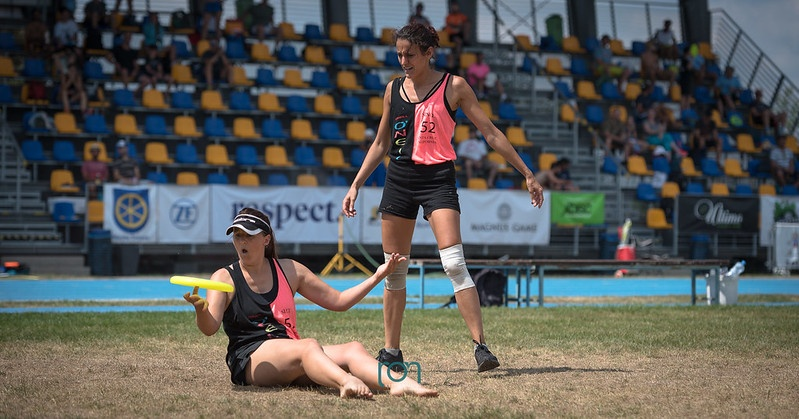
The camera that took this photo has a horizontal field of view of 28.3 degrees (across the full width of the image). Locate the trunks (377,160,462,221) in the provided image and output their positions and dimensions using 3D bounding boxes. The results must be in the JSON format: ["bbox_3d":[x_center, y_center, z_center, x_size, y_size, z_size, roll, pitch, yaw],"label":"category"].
[{"bbox_3d":[0.517,-0.584,41.921,2.634,1.911,1.413,0,1,9],"label":"trunks"}]

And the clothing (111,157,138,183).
[{"bbox_3d":[-8.906,-1.335,51.547,0.850,0.833,1.185,1,0,-11],"label":"clothing"}]

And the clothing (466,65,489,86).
[{"bbox_3d":[2.757,-4.857,56.927,0.889,1.119,0.409,2,-4,-3],"label":"clothing"}]

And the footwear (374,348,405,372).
[{"bbox_3d":[-0.277,3.841,41.342,0.835,0.333,0.404,4,1,27],"label":"footwear"}]

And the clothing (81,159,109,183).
[{"bbox_3d":[-9.891,-1.210,51.563,1.140,0.989,0.591,0,-17,-14],"label":"clothing"}]
